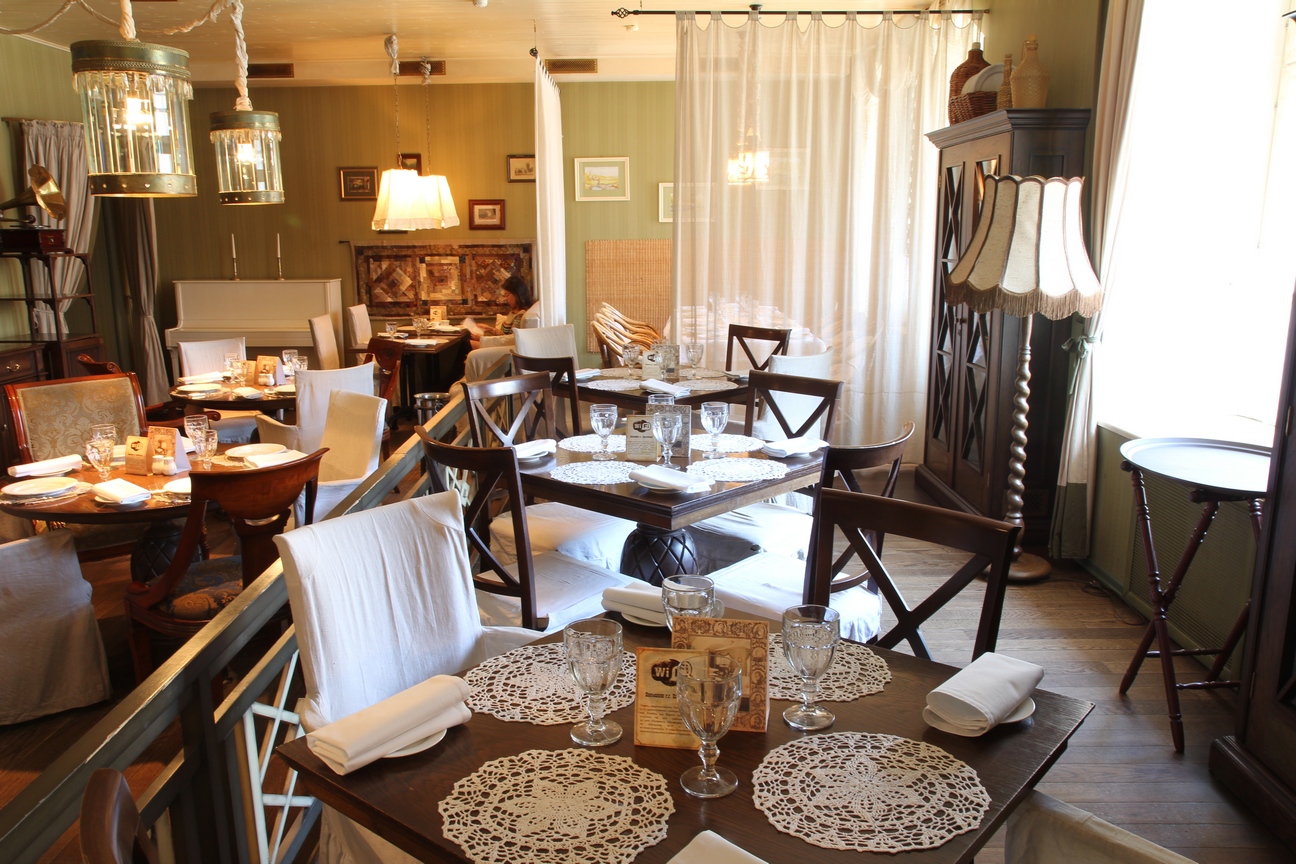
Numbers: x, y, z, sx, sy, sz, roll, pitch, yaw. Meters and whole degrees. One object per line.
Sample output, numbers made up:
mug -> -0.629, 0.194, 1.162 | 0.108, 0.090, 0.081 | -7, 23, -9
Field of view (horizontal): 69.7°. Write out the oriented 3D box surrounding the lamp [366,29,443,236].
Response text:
lamp -> -2.183, -2.645, 8.285 | 0.661, 1.669, 3.249 | -6, 13, -14

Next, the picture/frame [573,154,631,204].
picture/frame -> -0.476, -2.686, 9.753 | 0.517, 0.396, 0.037 | 1, 12, -1

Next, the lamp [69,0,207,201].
lamp -> -1.562, -0.957, 2.850 | 0.320, 0.445, 0.151 | -10, 16, -28

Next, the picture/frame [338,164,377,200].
picture/frame -> -3.080, -2.655, 9.804 | 0.513, 0.498, 0.050 | 1, 14, -7

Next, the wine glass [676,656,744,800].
wine glass -> 0.139, 0.686, 2.224 | 0.154, 0.334, 0.169 | -4, 14, -8

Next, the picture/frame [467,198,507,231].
picture/frame -> -1.722, -2.331, 9.874 | 0.353, 0.293, 0.026 | 1, 12, -5

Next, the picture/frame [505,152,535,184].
picture/frame -> -1.353, -2.801, 9.777 | 0.334, 0.275, 0.024 | 2, 13, -5
